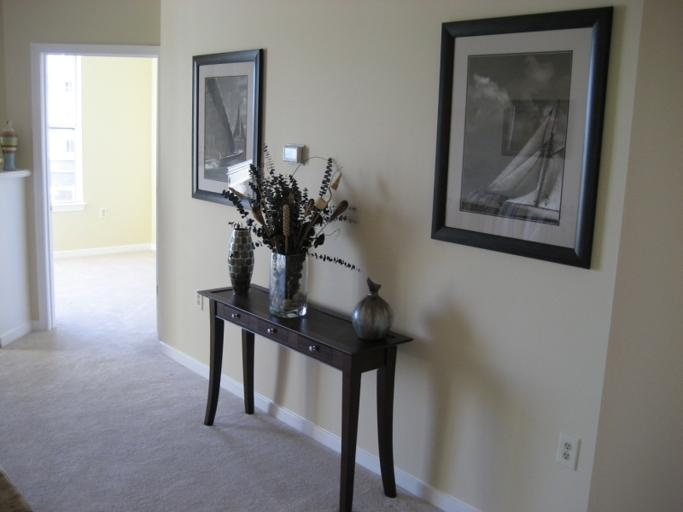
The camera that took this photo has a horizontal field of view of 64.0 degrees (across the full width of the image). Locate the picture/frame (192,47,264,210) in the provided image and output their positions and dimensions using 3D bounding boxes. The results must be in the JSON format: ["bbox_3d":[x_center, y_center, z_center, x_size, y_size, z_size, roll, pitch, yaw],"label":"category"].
[{"bbox_3d":[-0.773,-0.912,3.793,0.051,1.306,0.959,-4,12,-37],"label":"picture/frame"}]

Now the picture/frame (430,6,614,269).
[{"bbox_3d":[0.841,-0.552,2.463,0.964,1.447,0.132,10,14,40],"label":"picture/frame"}]

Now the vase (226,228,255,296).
[{"bbox_3d":[-0.656,0.025,3.554,0.199,0.431,0.205,21,28,31],"label":"vase"}]

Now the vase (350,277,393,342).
[{"bbox_3d":[0.164,0.270,2.856,0.197,0.310,0.212,0,9,-9],"label":"vase"}]

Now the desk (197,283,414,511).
[{"bbox_3d":[-0.179,0.831,3.172,0.304,0.674,0.944,-7,14,-35],"label":"desk"}]
